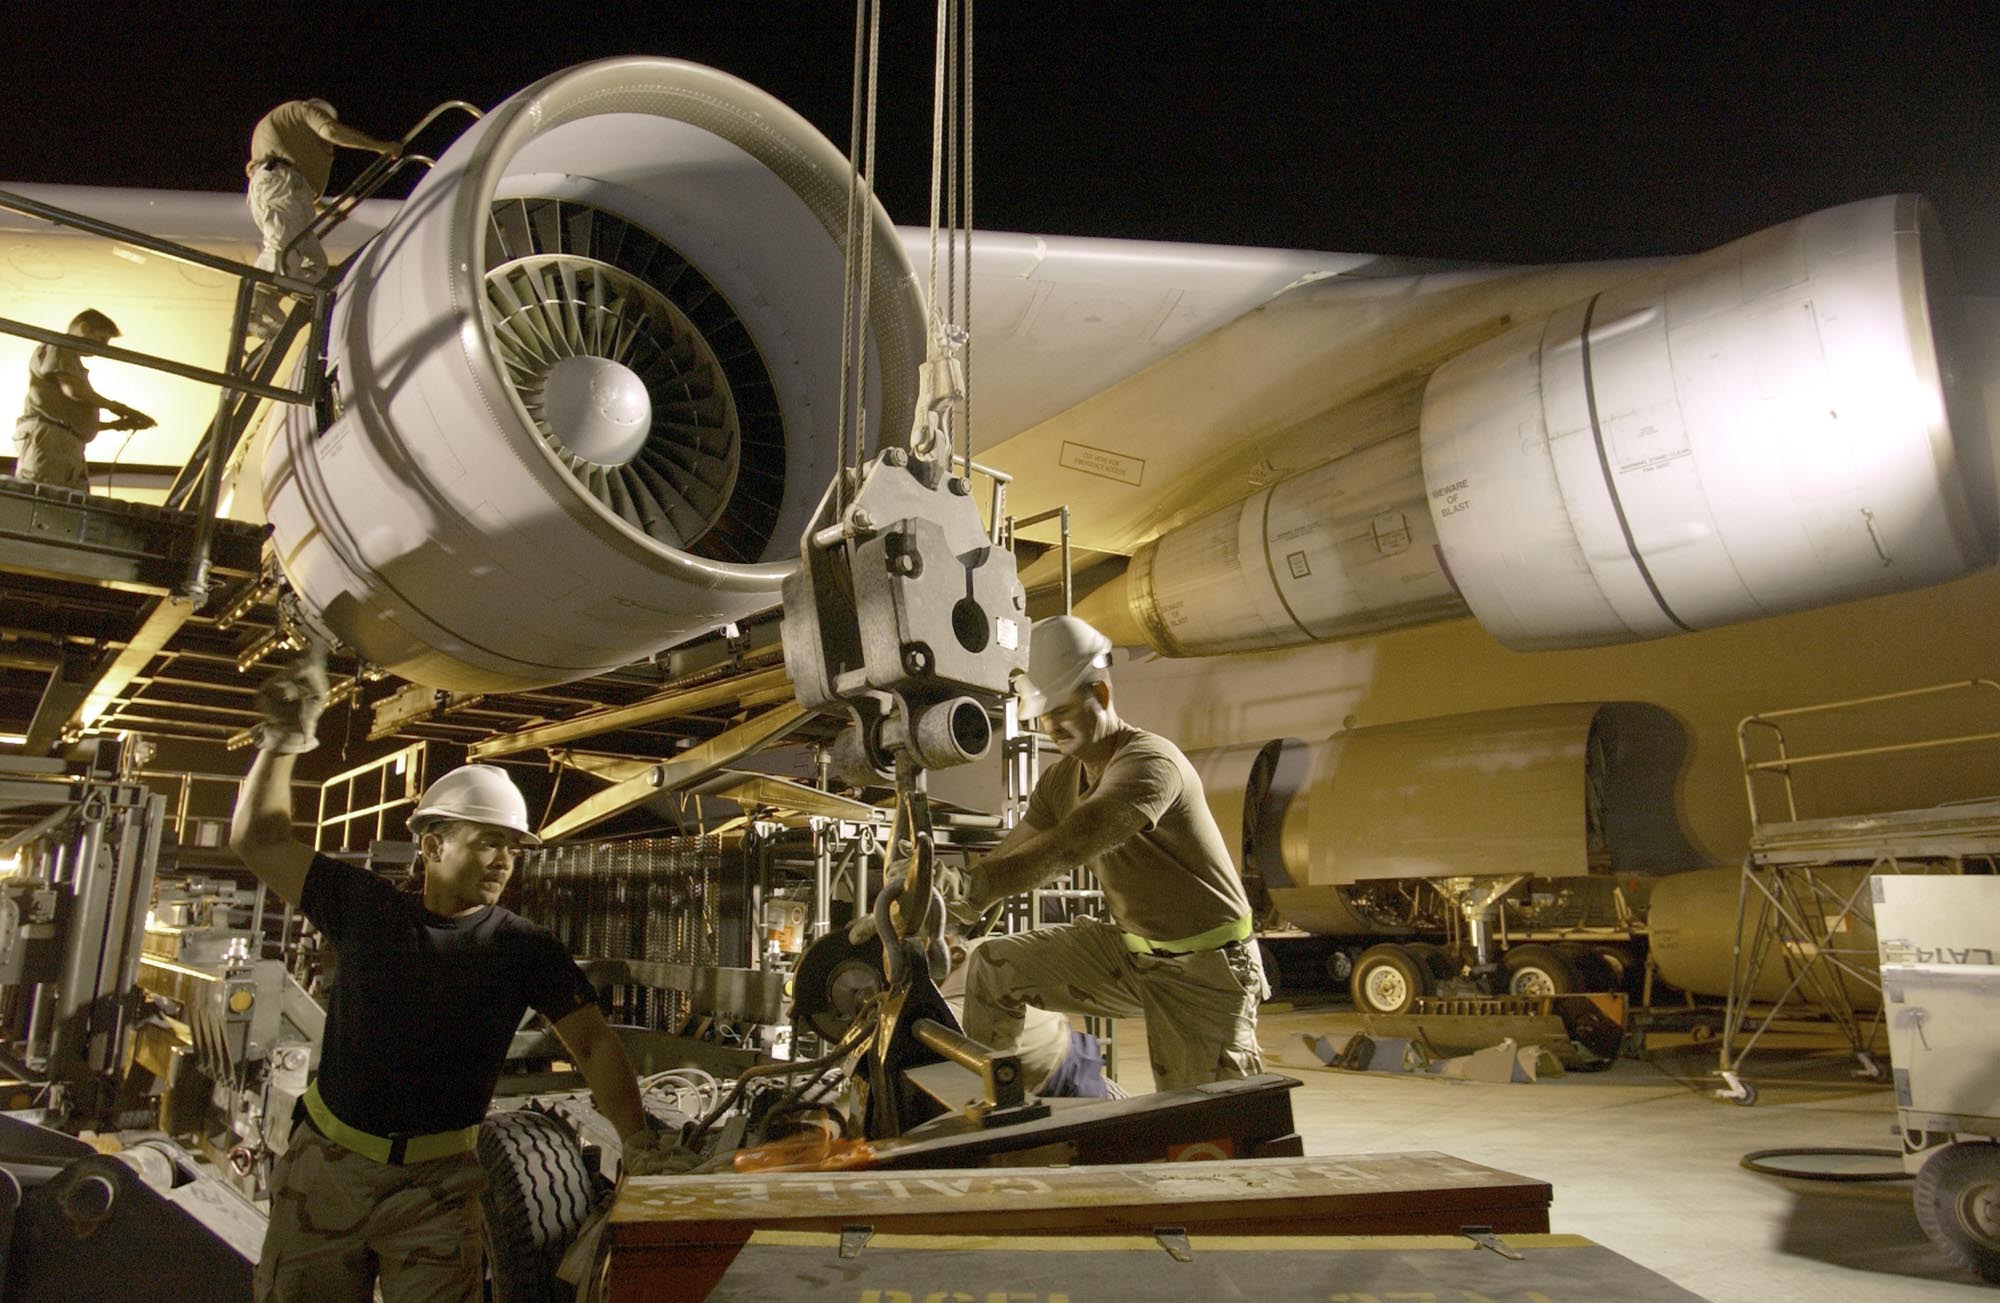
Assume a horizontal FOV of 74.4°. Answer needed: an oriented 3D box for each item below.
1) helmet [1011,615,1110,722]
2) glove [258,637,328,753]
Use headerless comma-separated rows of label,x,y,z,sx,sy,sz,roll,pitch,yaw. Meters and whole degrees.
helmet,0.268,0.019,6.192,0.359,0.503,0.274,38,-15,36
glove,-2.992,0.196,5.618,0.233,0.459,0.321,7,-16,-28
